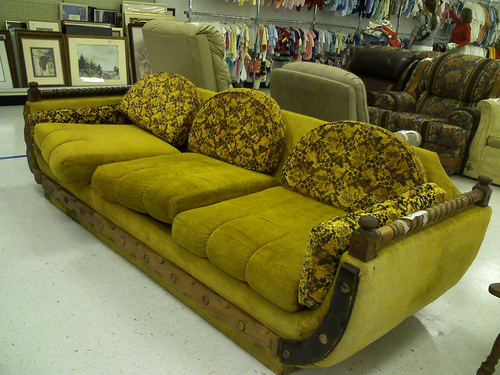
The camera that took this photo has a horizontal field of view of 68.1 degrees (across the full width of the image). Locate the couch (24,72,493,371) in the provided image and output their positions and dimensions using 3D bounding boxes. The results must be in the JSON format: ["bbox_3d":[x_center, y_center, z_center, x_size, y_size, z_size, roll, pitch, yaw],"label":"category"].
[{"bbox_3d":[-0.228,-0.008,2.173,1.235,0.994,2.511,-16,34,-39],"label":"couch"}]

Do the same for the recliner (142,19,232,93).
[{"bbox_3d":[-0.472,-1.206,3.321,0.674,0.592,0.697,25,37,32],"label":"recliner"}]

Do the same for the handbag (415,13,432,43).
[{"bbox_3d":[2.852,-2.626,6.100,0.303,0.329,0.228,-32,25,11],"label":"handbag"}]

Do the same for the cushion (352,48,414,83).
[{"bbox_3d":[1.689,-1.635,4.858,0.490,0.478,0.803,-14,25,-32],"label":"cushion"}]

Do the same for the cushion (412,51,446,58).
[{"bbox_3d":[2.318,-1.714,4.727,0.273,0.067,0.266,-15,24,-37],"label":"cushion"}]
